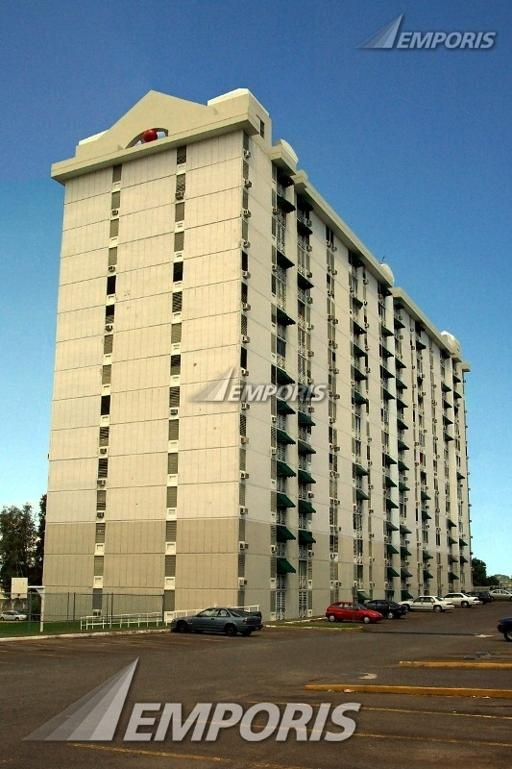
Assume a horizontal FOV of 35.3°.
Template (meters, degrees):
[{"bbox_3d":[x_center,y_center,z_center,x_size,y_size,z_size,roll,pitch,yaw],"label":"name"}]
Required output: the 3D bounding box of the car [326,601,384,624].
[{"bbox_3d":[5.728,13.521,47.559,2.665,0.930,1.451,-10,-15,31],"label":"car"}]

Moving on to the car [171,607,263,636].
[{"bbox_3d":[-1.771,10.616,36.073,3.959,1.139,0.912,-7,-18,28],"label":"car"}]

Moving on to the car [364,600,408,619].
[{"bbox_3d":[8.487,15.372,54.589,3.321,1.060,1.508,-8,-10,35],"label":"car"}]

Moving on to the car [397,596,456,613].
[{"bbox_3d":[14.012,18.001,66.016,3.359,1.252,3.357,1,-15,-1],"label":"car"}]
